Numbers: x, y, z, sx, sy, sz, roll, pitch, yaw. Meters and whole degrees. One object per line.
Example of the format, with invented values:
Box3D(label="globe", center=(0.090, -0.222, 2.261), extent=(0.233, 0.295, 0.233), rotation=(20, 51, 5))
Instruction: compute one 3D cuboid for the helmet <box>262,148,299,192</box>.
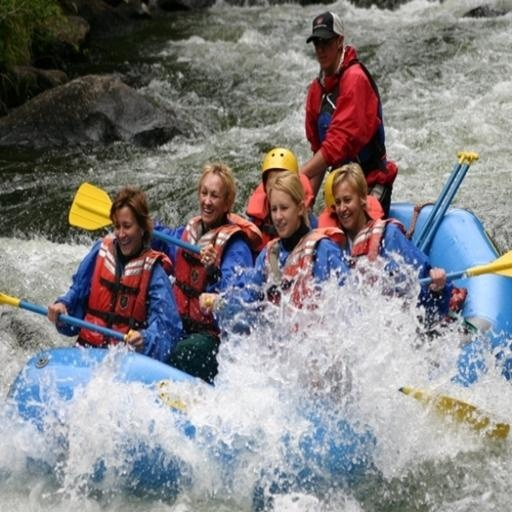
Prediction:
Box3D(label="helmet", center=(0.181, -0.651, 6.372), extent=(0.234, 0.327, 0.355), rotation=(2, 5, 9))

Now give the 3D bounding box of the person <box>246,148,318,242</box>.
Box3D(label="person", center=(0.208, -0.422, 6.439), extent=(0.532, 0.323, 0.878), rotation=(7, 55, 4))

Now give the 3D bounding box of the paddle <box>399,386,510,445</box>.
Box3D(label="paddle", center=(1.112, 0.931, 5.133), extent=(0.447, 0.099, 0.144), rotation=(24, 68, 3))

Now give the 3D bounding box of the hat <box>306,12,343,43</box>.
Box3D(label="hat", center=(0.492, -1.648, 6.239), extent=(0.174, 0.188, 0.310), rotation=(2, 25, 26))
